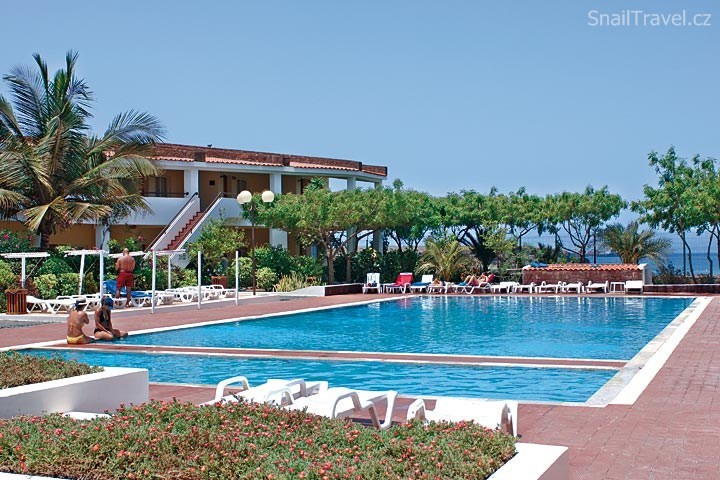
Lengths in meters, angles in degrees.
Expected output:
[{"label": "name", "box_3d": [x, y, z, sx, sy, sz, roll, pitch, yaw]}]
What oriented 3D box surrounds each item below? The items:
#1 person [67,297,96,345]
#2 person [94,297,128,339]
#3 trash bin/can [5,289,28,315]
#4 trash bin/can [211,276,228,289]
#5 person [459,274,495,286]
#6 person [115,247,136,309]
[{"label": "person", "box_3d": [-8.132, 2.400, 21.865, 0.774, 1.343, 0.705, 9, 10, 18]}, {"label": "person", "box_3d": [-7.116, 2.201, 21.152, 0.811, 1.223, 0.675, 7, 8, 25]}, {"label": "trash bin/can", "box_3d": [-12.501, 2.241, 27.170, 0.785, 0.868, 0.794, -1, -3, 21]}, {"label": "trash bin/can", "box_3d": [-6.996, 2.061, 37.310, 0.620, 0.984, 0.657, -6, -10, 37]}, {"label": "person", "box_3d": [6.348, 2.181, 40.059, 1.218, 0.482, 0.880, 0, -3, -1]}, {"label": "person", "box_3d": [-8.686, 1.413, 27.621, 0.646, 2.127, 1.389, 1, -3, -18]}]
